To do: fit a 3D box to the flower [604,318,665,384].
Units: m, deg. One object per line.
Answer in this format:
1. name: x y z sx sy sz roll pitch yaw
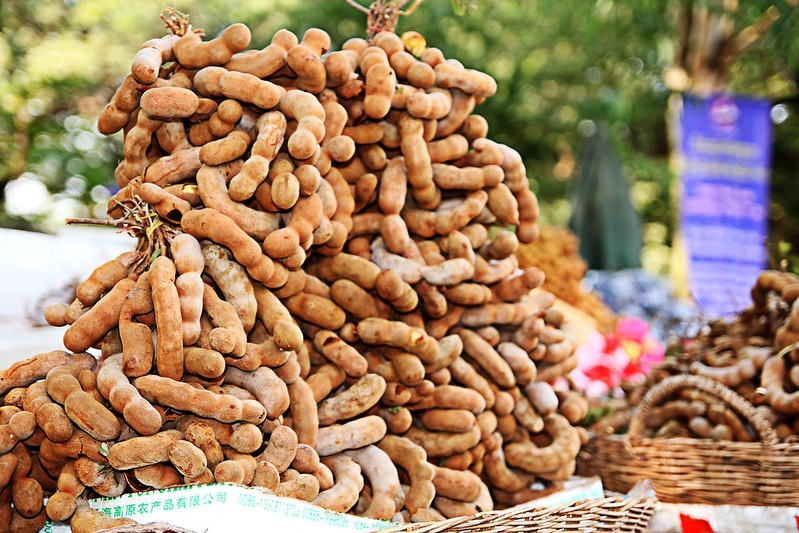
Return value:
1. flower: 1.216 0.475 4.028 0.290 0.117 0.281 -5 48 -45
